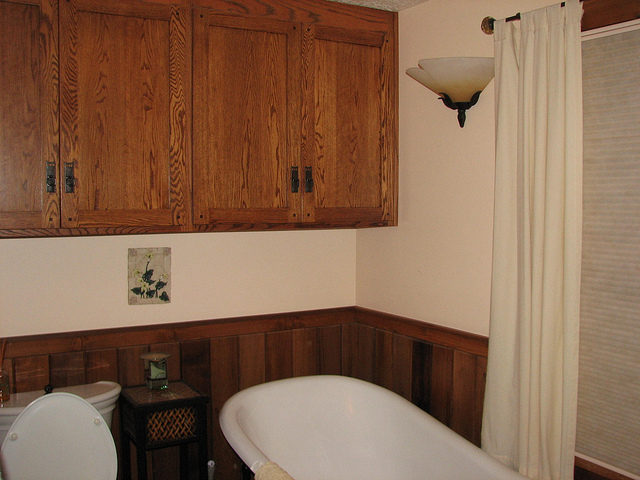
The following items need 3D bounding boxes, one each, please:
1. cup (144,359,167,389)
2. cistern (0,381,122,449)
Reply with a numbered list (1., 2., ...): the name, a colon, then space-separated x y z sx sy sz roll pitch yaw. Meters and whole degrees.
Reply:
1. cup: -0.874 0.724 2.742 0.117 0.169 0.125 -8 -17 -3
2. cistern: -1.261 0.787 2.506 0.368 0.237 0.284 2 -3 -40
